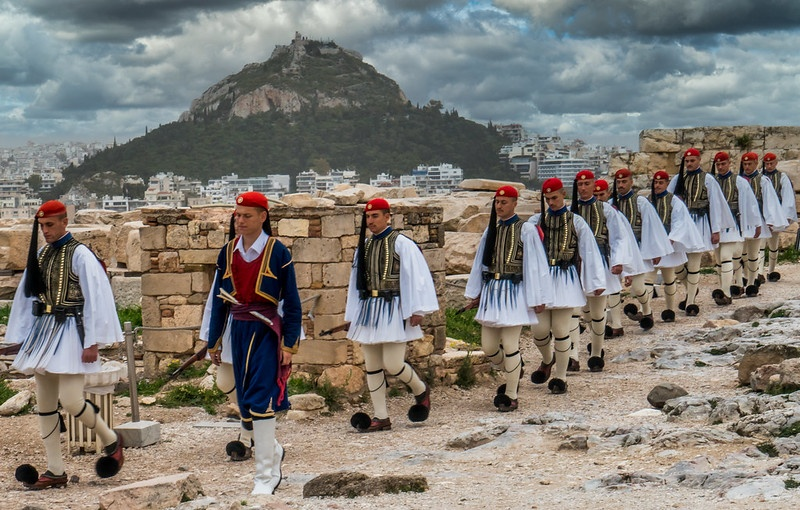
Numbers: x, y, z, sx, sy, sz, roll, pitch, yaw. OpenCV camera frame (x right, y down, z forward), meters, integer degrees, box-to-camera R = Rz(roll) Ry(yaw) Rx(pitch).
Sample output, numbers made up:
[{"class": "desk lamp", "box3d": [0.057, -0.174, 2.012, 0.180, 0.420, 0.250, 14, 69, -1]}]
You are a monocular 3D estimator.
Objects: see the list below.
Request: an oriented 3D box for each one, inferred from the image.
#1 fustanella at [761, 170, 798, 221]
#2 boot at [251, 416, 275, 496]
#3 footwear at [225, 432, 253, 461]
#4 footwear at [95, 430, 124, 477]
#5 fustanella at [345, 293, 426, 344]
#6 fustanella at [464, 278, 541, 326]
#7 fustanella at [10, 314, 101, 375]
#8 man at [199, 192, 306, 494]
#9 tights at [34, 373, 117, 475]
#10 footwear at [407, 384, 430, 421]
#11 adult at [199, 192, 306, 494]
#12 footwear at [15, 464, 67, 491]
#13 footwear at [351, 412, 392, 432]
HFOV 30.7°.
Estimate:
[{"class": "fustanella", "box3d": [7.601, -1.184, 29.327, 0.613, 1.102, 1.248, -19, -6, 10]}, {"class": "boot", "box3d": [-1.870, 2.817, 20.513, 0.383, 1.055, 0.729, 0, 3, -4]}, {"class": "footwear", "box3d": [-2.350, 2.885, 21.833, 0.283, 0.453, 0.487, 2, 14, 8]}, {"class": "footwear", "box3d": [-4.180, 2.879, 21.142, 0.372, 0.620, 0.290, 2, 11, 14]}, {"class": "fustanella", "box3d": [-0.292, 1.056, 22.653, 1.176, 0.634, 0.785, -1, -6, 13]}, {"class": "fustanella", "box3d": [1.649, 0.876, 23.344, 1.138, 0.886, 0.749, -1, -10, 6]}, {"class": "fustanella", "box3d": [-5.009, 1.306, 21.315, 1.312, 0.969, 0.904, 1, -7, 1]}, {"class": "man", "box3d": [-2.047, 1.213, 20.858, 0.811, 4.230, 1.225, -3, 5, -44]}, {"class": "tights", "box3d": [-4.725, 2.477, 21.415, 0.922, 1.424, 1.116, -29, -27, 11]}, {"class": "footwear", "box3d": [0.341, 2.336, 23.031, 0.271, 0.558, 0.226, 9, 2, 19]}, {"class": "adult", "box3d": [-2.048, 1.213, 20.858, 0.813, 4.230, 1.224, -3, 5, -44]}, {"class": "footwear", "box3d": [-5.165, 3.230, 21.157, 0.856, 0.299, 0.292, 4, -7, -19]}, {"class": "footwear", "box3d": [-0.452, 2.617, 22.877, 0.586, 0.196, 0.284, 9, -9, -20]}]
